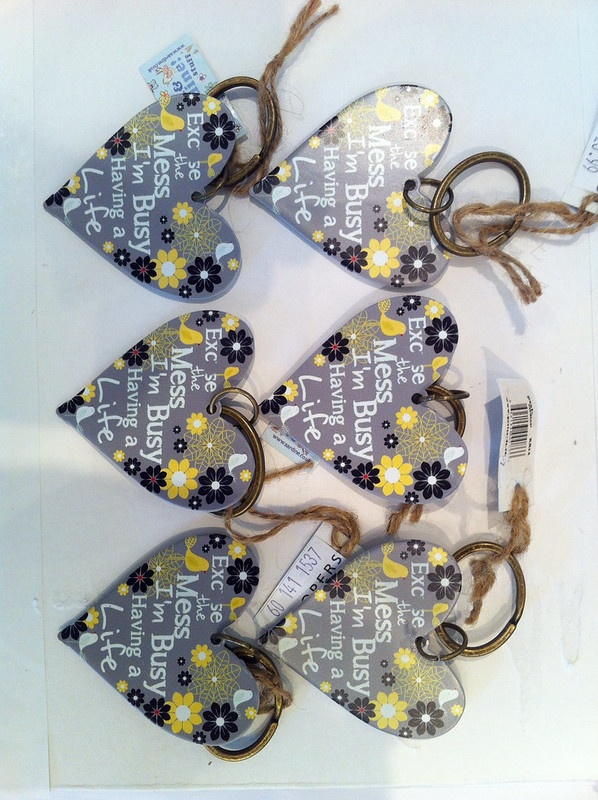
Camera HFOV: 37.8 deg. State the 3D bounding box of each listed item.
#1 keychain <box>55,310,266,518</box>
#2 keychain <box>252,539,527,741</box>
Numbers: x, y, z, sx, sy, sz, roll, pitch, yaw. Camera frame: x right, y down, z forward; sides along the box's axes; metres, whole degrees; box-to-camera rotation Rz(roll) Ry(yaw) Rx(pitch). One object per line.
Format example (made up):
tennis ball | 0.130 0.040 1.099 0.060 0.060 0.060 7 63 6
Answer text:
keychain | -0.259 0.016 1.646 0.391 0.371 0.113 3 9 -8
keychain | 0.228 0.439 1.673 0.475 0.384 0.115 31 -18 -6
